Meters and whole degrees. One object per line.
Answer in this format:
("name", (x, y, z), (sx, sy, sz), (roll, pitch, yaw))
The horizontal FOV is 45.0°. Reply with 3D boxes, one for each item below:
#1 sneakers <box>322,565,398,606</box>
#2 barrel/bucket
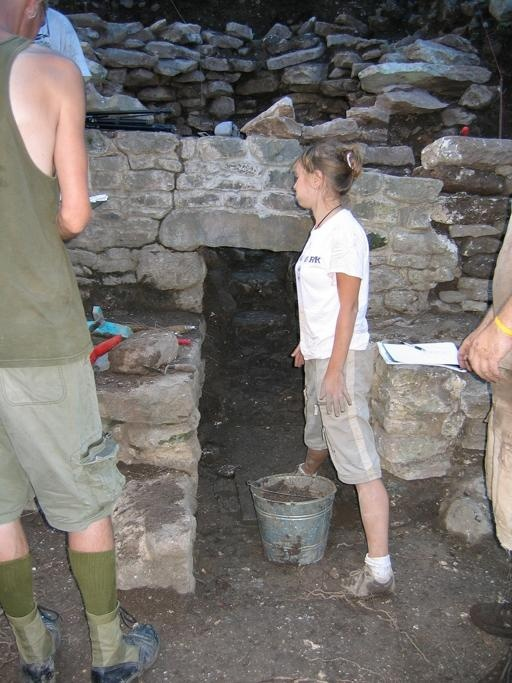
("sneakers", (0.413, 0.939, 2.381), (0.340, 0.117, 0.104), (0, 5, 5))
("barrel/bucket", (0.190, 0.728, 2.573), (0.401, 0.264, 0.376), (-1, 6, 0))
